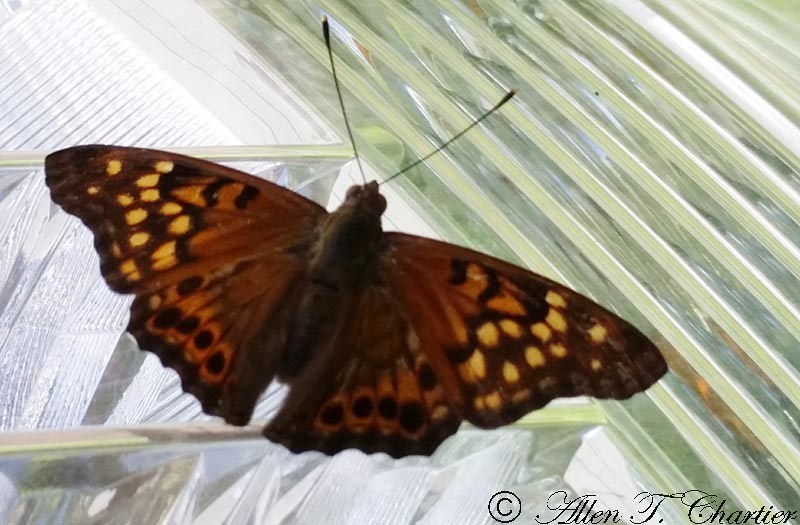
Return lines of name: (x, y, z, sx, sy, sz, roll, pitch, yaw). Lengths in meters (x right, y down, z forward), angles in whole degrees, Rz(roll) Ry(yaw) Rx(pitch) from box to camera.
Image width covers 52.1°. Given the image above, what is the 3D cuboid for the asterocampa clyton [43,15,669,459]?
asterocampa clyton: (-0.123, 0.030, 1.470, 1.132, 0.160, 0.709, 17, 76, 20)
